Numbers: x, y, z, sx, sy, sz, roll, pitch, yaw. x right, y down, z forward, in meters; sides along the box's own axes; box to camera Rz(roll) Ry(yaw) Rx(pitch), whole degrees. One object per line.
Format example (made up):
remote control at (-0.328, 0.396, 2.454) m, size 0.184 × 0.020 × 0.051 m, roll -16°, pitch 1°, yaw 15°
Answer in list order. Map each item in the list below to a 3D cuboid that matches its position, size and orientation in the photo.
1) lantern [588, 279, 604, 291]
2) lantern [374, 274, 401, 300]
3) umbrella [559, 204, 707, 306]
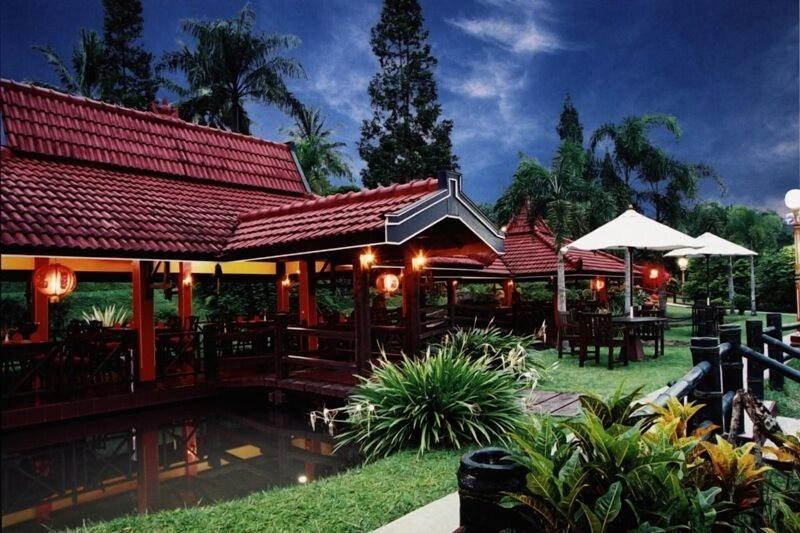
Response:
lantern at (9.813, 0.934, 27.858) m, size 0.396 × 0.523 × 0.758 m, roll 3°, pitch 1°, yaw 1°
lantern at (-0.306, 0.441, 14.715) m, size 0.563 × 0.548 × 0.514 m, roll -5°, pitch 4°, yaw -14°
umbrella at (6.804, -0.490, 16.869) m, size 3.465 × 2.899 × 3.221 m, roll 0°, pitch -2°, yaw -36°
